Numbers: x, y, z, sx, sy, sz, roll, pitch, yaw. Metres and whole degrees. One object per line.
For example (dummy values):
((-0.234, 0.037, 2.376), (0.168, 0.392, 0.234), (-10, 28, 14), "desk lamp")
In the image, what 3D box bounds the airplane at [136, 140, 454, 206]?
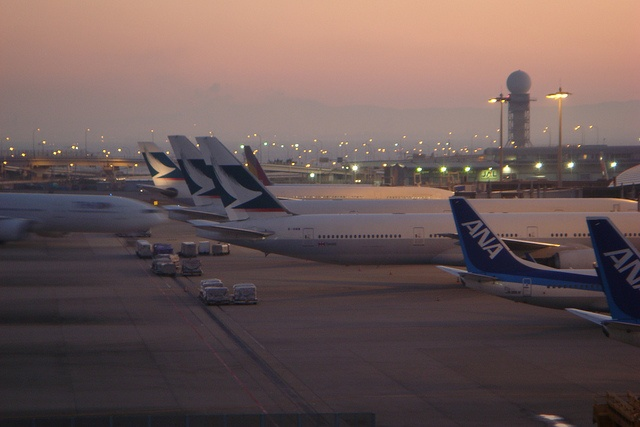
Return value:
((-2.445, -6.305, 173.085), (37.916, 8.030, 26.101), (0, 5, 2), "airplane")
